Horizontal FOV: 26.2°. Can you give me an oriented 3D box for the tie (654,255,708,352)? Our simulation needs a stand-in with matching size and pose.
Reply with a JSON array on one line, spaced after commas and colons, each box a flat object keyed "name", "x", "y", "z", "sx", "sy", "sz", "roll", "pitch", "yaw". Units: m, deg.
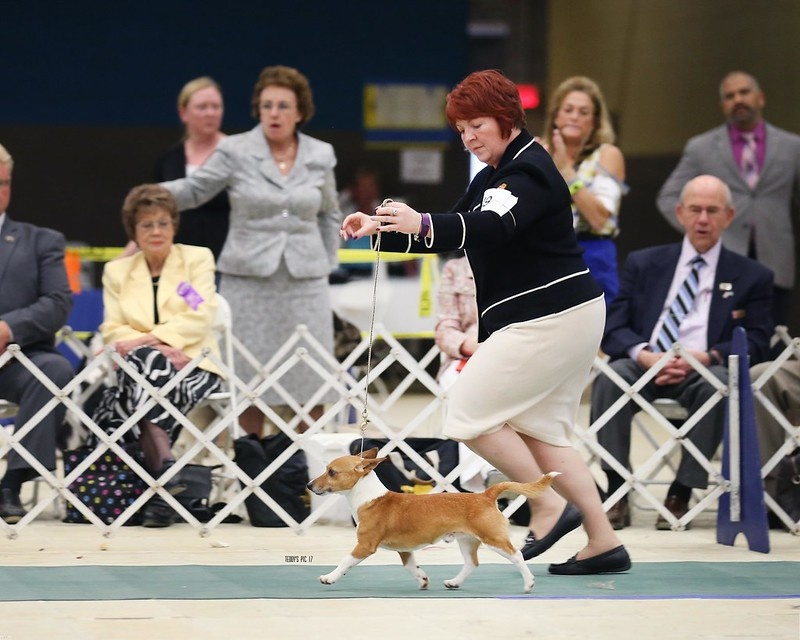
[{"name": "tie", "x": 1.520, "y": -0.075, "z": 9.399, "sx": 0.159, "sy": 0.705, "sz": 0.084, "roll": 31, "pitch": 10, "yaw": 20}]

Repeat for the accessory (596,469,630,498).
[{"name": "accessory", "x": 1.136, "y": 0.888, "z": 9.327, "sx": 0.044, "sy": 0.168, "sz": 0.179, "roll": -3, "pitch": 39, "yaw": -39}]

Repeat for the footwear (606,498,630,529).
[{"name": "footwear", "x": 1.201, "y": 1.057, "z": 9.328, "sx": 0.128, "sy": 0.184, "sz": 0.196, "roll": 0, "pitch": -19, "yaw": 15}]

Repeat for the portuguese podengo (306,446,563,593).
[{"name": "portuguese podengo", "x": 0.119, "y": 0.922, "z": 7.839, "sx": 1.135, "sy": 0.563, "sz": 0.255, "roll": 2, "pitch": -5, "yaw": 12}]

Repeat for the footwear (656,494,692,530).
[{"name": "footwear", "x": 1.467, "y": 1.056, "z": 9.305, "sx": 0.189, "sy": 0.152, "sz": 0.379, "roll": 1, "pitch": 11, "yaw": 8}]

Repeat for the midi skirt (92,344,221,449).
[{"name": "midi skirt", "x": -1.346, "y": 0.372, "z": 9.296, "sx": 0.624, "sy": 0.515, "sz": 0.471, "roll": -2, "pitch": 10, "yaw": -14}]

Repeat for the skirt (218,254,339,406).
[{"name": "skirt", "x": -0.668, "y": 0.026, "z": 9.732, "sx": 0.581, "sy": 0.811, "sz": 0.488, "roll": -5, "pitch": 12, "yaw": -29}]

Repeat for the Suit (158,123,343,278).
[{"name": "Suit", "x": -0.834, "y": -0.639, "z": 9.618, "sx": 1.264, "sy": 0.835, "sz": 0.454, "roll": -6, "pitch": 17, "yaw": -35}]

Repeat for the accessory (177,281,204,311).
[{"name": "accessory", "x": -1.123, "y": -0.131, "z": 9.259, "sx": 0.102, "sy": 0.168, "sz": 0.036, "roll": -41, "pitch": -12, "yaw": 4}]

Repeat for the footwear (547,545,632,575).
[{"name": "footwear", "x": 0.907, "y": 1.144, "z": 8.207, "sx": 0.419, "sy": 0.144, "sz": 0.131, "roll": 0, "pitch": -3, "yaw": 1}]

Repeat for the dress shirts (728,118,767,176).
[{"name": "dress shirts", "x": 1.986, "y": -0.995, "z": 9.865, "sx": 0.182, "sy": 0.313, "sz": 0.080, "roll": 0, "pitch": 7, "yaw": 7}]
